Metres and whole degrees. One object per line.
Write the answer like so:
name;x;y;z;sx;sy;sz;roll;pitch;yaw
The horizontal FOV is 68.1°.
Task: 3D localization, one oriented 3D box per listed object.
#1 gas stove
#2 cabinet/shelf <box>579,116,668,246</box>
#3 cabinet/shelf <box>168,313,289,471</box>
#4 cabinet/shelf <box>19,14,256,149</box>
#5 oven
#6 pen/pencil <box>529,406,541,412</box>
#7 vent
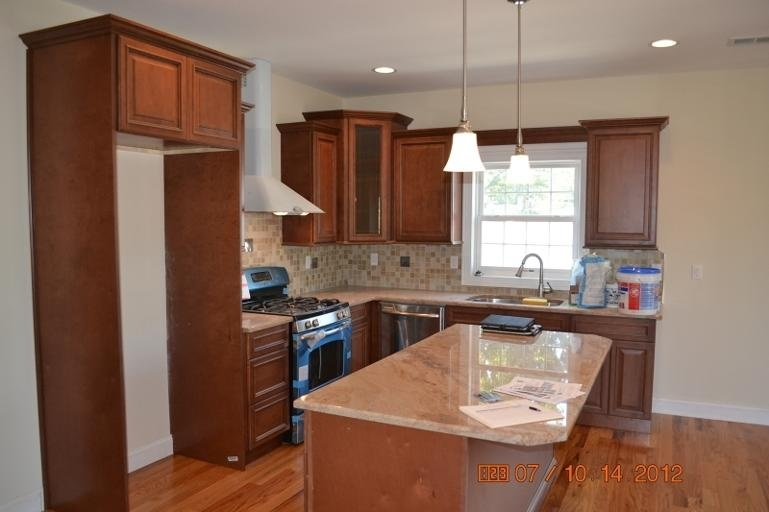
gas stove;-0.850;0.338;5.148;1.096;0.254;1.030;3;7;-14
cabinet/shelf;2.126;-0.657;5.154;0.704;1.159;0.228;3;15;11
cabinet/shelf;-1.178;1.060;5.144;1.206;1.612;0.935;-1;2;13
cabinet/shelf;-1.400;-0.768;3.745;0.762;0.683;1.501;-1;0;30
oven;-0.716;1.004;5.148;0.693;1.018;0.928;1;4;23
pen/pencil;0.808;0.818;3.050;0.017;0.020;0.072;-3;5;-17
vent;-1.078;-0.984;4.932;0.991;1.073;0.982;-1;12;-32
